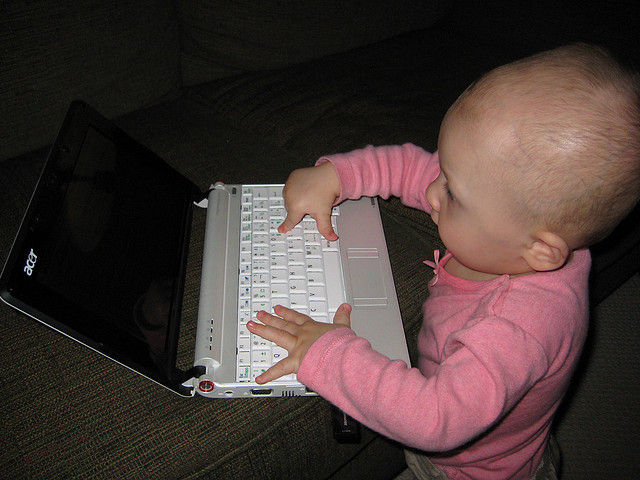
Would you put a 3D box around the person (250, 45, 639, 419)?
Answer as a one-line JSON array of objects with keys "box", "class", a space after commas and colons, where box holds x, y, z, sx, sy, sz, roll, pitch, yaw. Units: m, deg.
[{"box": [0.220, 0.007, 0.897, 0.526, 0.714, 0.548, 4, 59, 3], "class": "person"}]

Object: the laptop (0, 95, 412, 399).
[{"box": [-0.224, 0.073, 0.905, 0.681, 0.318, 0.506, 3, 57, -11], "class": "laptop"}]
